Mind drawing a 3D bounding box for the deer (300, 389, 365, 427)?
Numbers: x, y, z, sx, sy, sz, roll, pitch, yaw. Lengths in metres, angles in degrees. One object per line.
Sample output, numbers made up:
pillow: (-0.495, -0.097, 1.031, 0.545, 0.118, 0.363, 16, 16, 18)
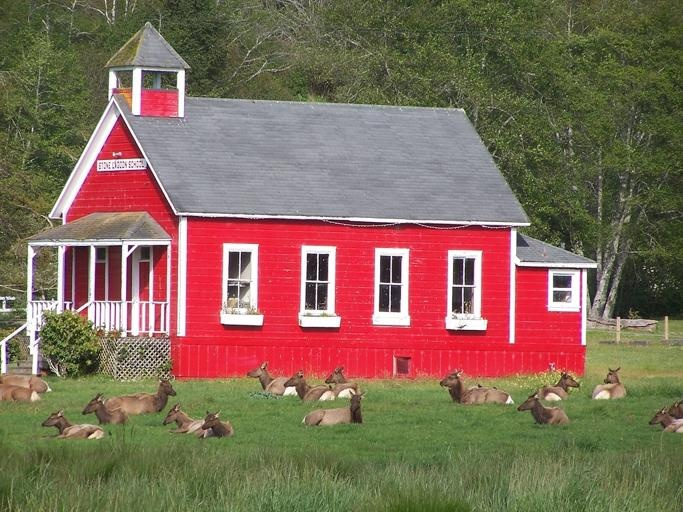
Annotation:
deer: (-0.205, 5.567, 63.581, 2.163, 1.132, 0.955, 0, 14, -8)

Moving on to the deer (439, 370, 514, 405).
deer: (5.169, 5.064, 66.343, 2.620, 1.092, 1.136, 6, 15, 14)

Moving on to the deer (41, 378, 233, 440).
deer: (-7.432, 5.628, 63.420, 6.438, 1.197, 3.244, 2, 15, -1)

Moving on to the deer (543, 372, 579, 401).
deer: (8.441, 5.083, 67.478, 0.705, 1.179, 1.912, 6, 8, 40)

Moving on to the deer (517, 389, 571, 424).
deer: (7.504, 5.676, 63.787, 1.789, 0.922, 0.666, 4, 14, 7)
